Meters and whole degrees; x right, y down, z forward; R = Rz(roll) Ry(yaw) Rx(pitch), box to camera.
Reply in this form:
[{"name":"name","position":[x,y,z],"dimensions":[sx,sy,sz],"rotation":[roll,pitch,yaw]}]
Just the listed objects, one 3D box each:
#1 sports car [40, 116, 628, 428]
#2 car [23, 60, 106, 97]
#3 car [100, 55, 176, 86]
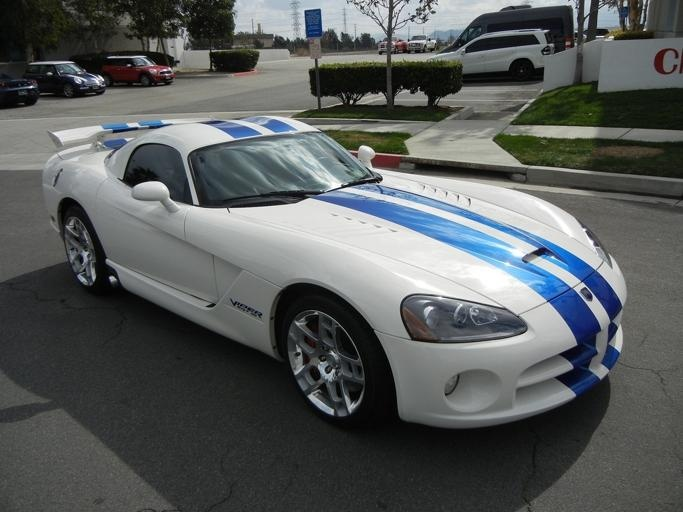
[{"name":"sports car","position":[-0.583,-0.184,3.882],"dimensions":[4.817,1.346,2.304],"rotation":[18,29,34]},{"name":"car","position":[-15.495,-9.913,25.636],"dimensions":[4.176,1.868,1.627],"rotation":[9,24,22]},{"name":"car","position":[-13.534,-12.295,30.336],"dimensions":[4.653,1.802,1.416],"rotation":[10,24,24]}]
